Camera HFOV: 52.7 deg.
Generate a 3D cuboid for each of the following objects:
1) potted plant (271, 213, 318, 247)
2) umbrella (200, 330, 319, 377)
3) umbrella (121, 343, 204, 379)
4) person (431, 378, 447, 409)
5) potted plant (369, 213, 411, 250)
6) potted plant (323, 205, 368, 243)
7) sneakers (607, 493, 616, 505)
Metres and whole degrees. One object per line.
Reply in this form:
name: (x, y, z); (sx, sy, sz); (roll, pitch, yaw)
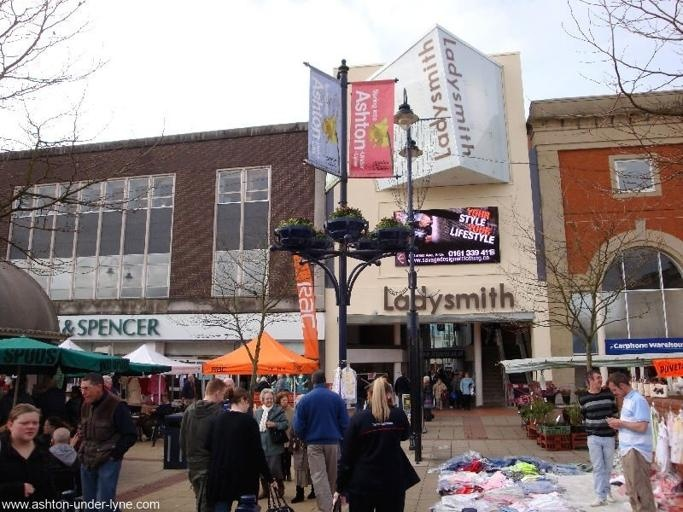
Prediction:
potted plant: (-0.878, -0.469, 14.071); (0.733, 0.630, 0.364); (-3, -11, 3)
umbrella: (-2.487, 3.041, 21.560); (3.196, 1.258, 1.572); (-4, -11, 11)
umbrella: (-6.510, 3.784, 24.490); (2.607, 0.887, 2.668); (1, -13, 6)
person: (4.987, 6.978, 35.095); (0.639, 1.508, 1.468); (-3, -11, 6)
potted plant: (0.992, -0.461, 14.158); (0.657, 0.573, 0.672); (-2, -2, 28)
potted plant: (0.104, -0.613, 14.173); (0.789, 0.668, 0.467); (-2, -11, 1)
sneakers: (5.297, 4.783, 13.562); (0.111, 0.155, 0.366); (-6, -28, 12)
